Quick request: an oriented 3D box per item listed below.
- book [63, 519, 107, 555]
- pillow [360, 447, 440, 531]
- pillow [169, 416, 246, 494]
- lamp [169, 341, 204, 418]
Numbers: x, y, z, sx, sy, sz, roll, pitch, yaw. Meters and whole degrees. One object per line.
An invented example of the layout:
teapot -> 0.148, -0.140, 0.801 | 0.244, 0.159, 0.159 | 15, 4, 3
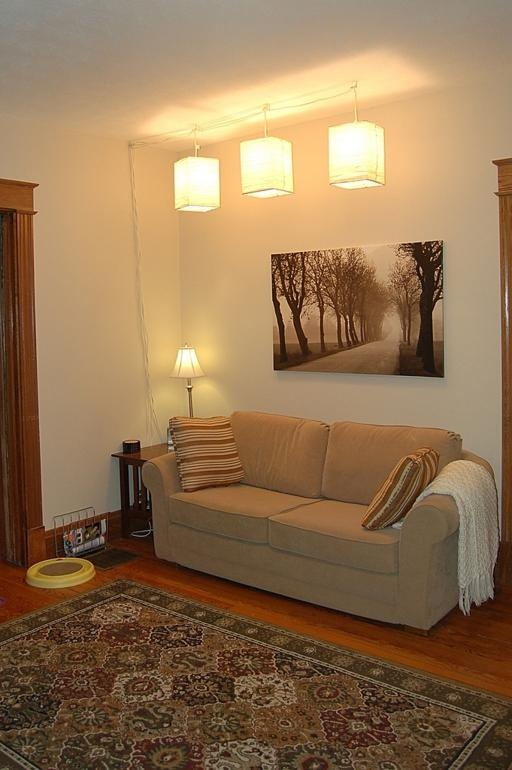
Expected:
book -> -1.107, 0.992, 3.927 | 0.223, 0.064, 0.169 | -11, 21, -44
pillow -> 0.656, 0.436, 2.870 | 0.304, 0.363, 0.527 | 8, 9, 35
pillow -> -0.305, 0.419, 3.651 | 0.139, 0.423, 0.464 | -24, -26, 35
lamp -> -0.517, -0.025, 4.578 | 0.215, 0.494, 0.483 | -1, 0, -8
